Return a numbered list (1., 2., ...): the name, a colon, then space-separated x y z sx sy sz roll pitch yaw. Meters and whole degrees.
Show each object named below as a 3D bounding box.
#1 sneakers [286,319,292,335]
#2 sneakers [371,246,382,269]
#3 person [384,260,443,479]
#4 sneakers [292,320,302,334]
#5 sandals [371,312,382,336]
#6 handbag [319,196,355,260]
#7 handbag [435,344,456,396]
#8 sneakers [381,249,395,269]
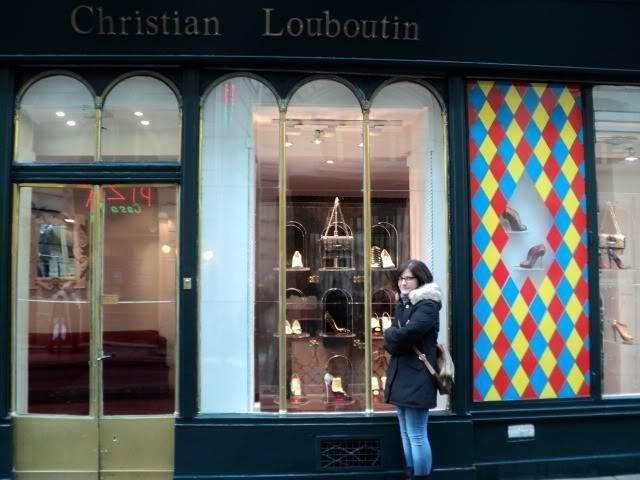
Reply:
1. sneakers: -0.352 0.982 9.055 0.095 0.115 0.131 1 -10 -5
2. sneakers: 0.645 0.188 9.088 0.195 0.265 0.195 1 0 7
3. person: 0.979 1.341 8.320 0.605 2.275 0.406 -1 -6 5
4. sneakers: -0.264 0.979 9.072 0.112 0.143 0.147 1 -10 -2
5. sandals: 0.643 0.945 9.036 0.130 0.254 0.037 2 -6 -27
6. handbag: 0.198 -0.094 9.160 0.389 0.784 0.092 -1 -6 2
7. handbag: 1.321 1.370 8.407 0.221 0.537 0.572 -1 -6 8
8. sneakers: 0.764 0.205 9.131 0.124 0.212 0.051 -17 0 3
